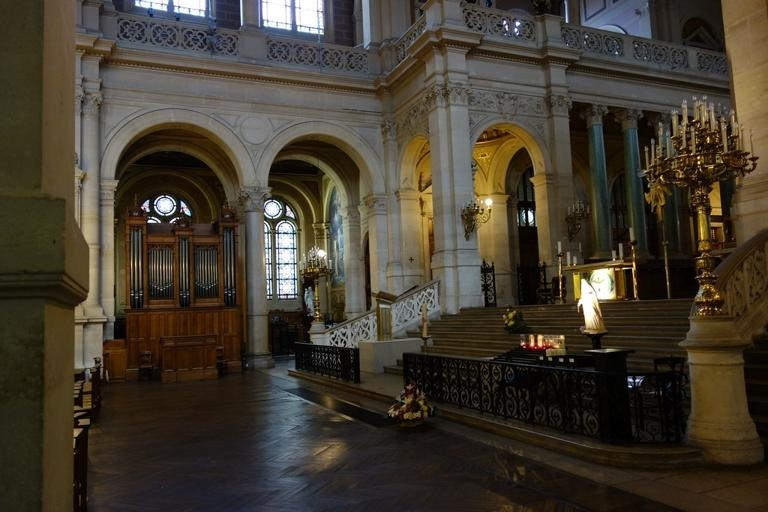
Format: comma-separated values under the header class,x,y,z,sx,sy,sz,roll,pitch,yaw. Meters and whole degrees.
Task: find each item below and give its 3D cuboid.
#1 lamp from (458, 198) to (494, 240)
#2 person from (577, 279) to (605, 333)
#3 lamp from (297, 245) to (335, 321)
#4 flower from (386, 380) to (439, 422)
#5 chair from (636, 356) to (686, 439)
class,x,y,z,sx,sy,sz,roll,pitch,yaw
lamp,2.732,-1.030,18.247,0.808,1.262,0.695,4,-4,-42
person,2.899,0.692,8.761,0.333,0.781,0.300,-1,0,30
lamp,-1.934,0.850,18.274,1.045,2.307,1.025,0,-12,-11
flower,0.429,2.313,9.869,0.550,0.629,0.662,-5,-3,26
chair,3.484,1.811,7.994,0.630,0.955,0.595,-2,-10,-38
